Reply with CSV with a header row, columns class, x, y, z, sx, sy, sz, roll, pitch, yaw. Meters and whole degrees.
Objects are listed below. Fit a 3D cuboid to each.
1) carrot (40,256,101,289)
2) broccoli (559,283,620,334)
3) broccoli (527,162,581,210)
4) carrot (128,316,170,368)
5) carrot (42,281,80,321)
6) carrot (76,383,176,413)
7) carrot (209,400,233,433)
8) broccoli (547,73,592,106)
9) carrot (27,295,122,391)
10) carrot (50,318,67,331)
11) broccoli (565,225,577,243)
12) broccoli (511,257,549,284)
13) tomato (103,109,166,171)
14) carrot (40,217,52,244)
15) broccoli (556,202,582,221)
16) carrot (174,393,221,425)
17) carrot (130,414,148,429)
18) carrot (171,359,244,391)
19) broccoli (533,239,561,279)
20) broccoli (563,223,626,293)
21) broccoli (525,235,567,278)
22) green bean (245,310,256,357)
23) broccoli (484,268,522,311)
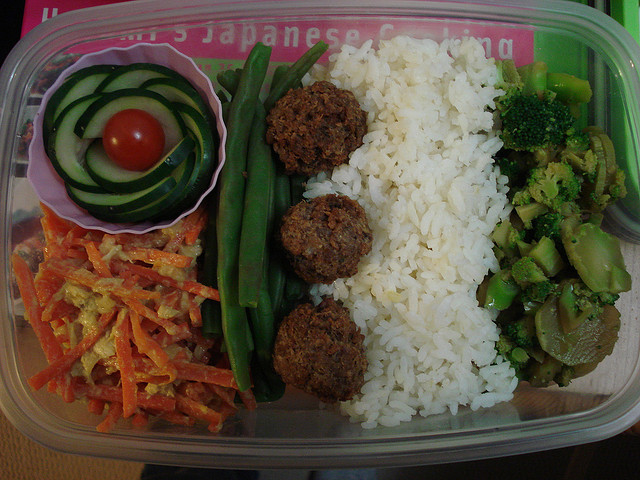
class,x,y,z,sx,sy,sz,roll,pitch,yaw
carrot,-1.338,0.172,3.318,0.306,0.075,0.156,30,103,-1
broccoli,1.428,0.350,3.336,0.273,0.084,0.274,-9,84,-8
broccoli,1.303,-0.314,3.404,0.251,0.100,0.270,-5,98,6
carrot,-0.936,0.554,3.271,0.311,0.085,0.099,39,84,8
carrot,-1.447,0.349,3.398,0.195,0.062,0.197,46,69,-18
carrot,-1.052,0.854,3.321,0.400,0.081,0.078,14,65,2
carrot,-0.536,0.974,3.451,0.076,0.064,0.234,39,40,-5
broccoli,1.443,-0.879,3.539,0.265,0.089,0.146,18,120,10
carrot,-1.367,0.632,3.311,0.068,0.093,0.479,55,49,-11
carrot,-1.462,0.468,3.373,0.064,0.026,0.073,2,86,-2
broccoli,1.380,-0.033,3.367,0.021,0.074,0.074,-38,82,35
broccoli,1.167,0.170,3.392,0.183,0.093,0.143,2,80,2
tomato,-0.945,-0.518,3.295,0.322,0.300,0.317,-4,93,7
carrot,-1.517,-0.067,3.359,0.042,0.041,0.176,-9,93,11
broccoli,1.415,-0.173,3.460,0.120,0.032,0.121,-13,97,-11
carrot,-0.706,0.962,3.361,0.297,0.084,0.078,26,92,-12
carrot,-1.009,1.006,3.376,0.084,0.034,0.084,4,90,-7
carrot,-0.623,0.726,3.378,0.452,0.136,0.122,-1,93,23
broccoli,1.270,0.108,3.411,0.148,0.118,0.221,-16,80,-1
broccoli,1.535,0.081,3.370,0.312,0.100,0.370,-36,81,-5
broccoli,1.262,0.091,3.381,0.207,0.056,0.208,-41,103,-12
green bean,-0.394,0.533,3.381,0.047,0.055,0.219,-6,102,-8
broccoli,1.022,0.289,3.454,0.244,0.078,0.176,-43,81,-6
